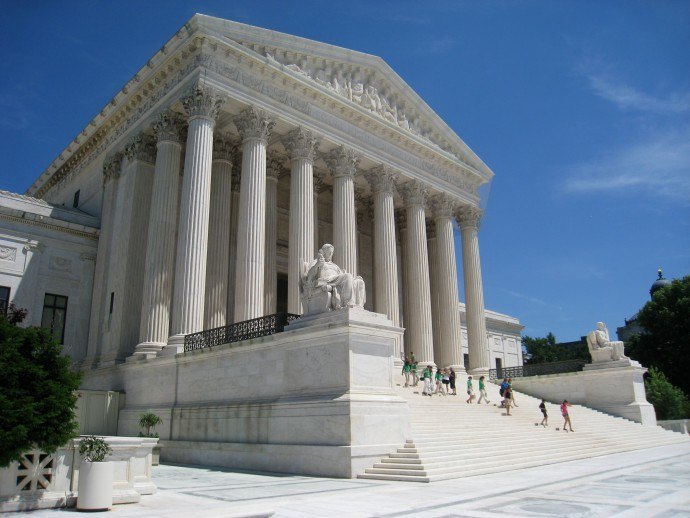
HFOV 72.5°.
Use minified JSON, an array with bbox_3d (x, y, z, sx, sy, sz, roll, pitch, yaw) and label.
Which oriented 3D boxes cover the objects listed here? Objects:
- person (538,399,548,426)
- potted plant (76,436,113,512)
[{"bbox_3d":[10.245,7.958,24.214,0.361,1.252,2.024,-8,-19,21],"label":"person"},{"bbox_3d":[-5.264,4.535,9.975,0.710,1.437,0.580,8,-20,-26],"label":"potted plant"}]
